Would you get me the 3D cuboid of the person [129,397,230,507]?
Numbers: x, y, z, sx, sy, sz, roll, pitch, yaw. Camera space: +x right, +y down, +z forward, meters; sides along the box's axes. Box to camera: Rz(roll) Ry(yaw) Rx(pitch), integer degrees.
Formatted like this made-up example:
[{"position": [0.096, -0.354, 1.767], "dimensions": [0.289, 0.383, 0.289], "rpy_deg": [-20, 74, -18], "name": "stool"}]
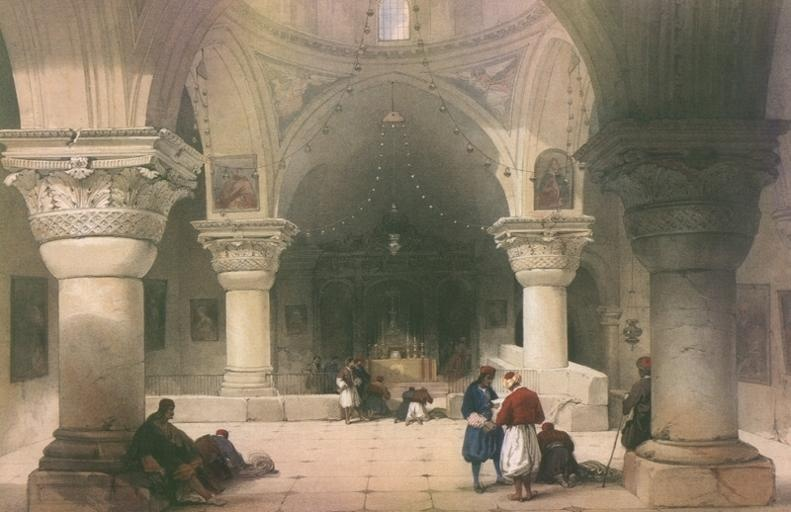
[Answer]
[{"position": [-3.399, 3.042, 20.670], "dimensions": [0.456, 1.653, 1.452], "rpy_deg": [-6, -8, 40], "name": "person"}]
